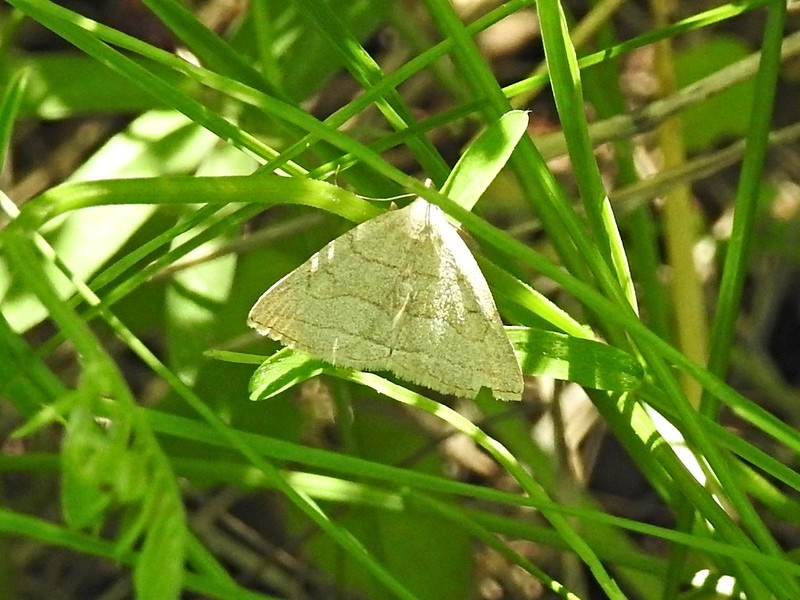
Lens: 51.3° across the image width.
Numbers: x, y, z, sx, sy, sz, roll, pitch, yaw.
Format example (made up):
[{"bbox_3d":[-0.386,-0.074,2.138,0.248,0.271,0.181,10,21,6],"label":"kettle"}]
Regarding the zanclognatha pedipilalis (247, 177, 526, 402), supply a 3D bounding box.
[{"bbox_3d":[-0.014,0.032,0.950,0.249,0.124,0.231,-24,-56,21],"label":"zanclognatha pedipilalis"}]
